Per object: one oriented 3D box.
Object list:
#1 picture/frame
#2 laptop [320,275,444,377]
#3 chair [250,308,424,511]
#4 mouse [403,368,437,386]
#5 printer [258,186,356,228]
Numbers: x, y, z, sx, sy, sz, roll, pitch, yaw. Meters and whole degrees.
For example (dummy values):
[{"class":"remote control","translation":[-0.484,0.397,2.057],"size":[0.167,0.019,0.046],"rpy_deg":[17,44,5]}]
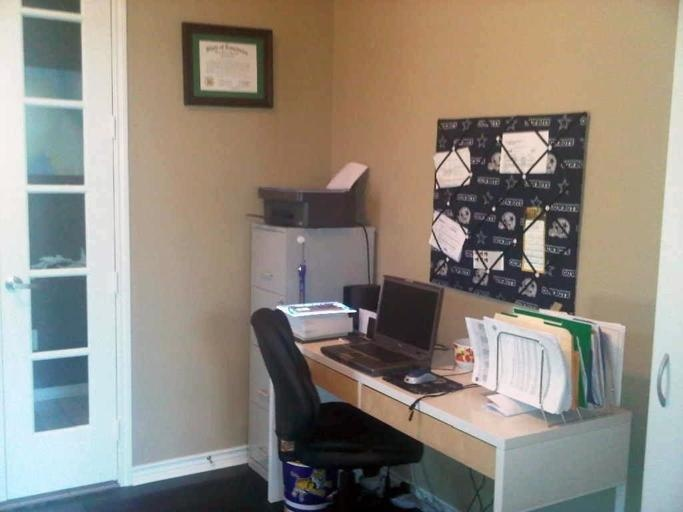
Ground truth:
[{"class":"picture/frame","translation":[-0.740,-1.194,3.551],"size":[0.549,0.484,0.042],"rpy_deg":[-4,9,-25]},{"class":"laptop","translation":[0.203,0.362,2.866],"size":[0.471,0.421,0.551],"rpy_deg":[-1,6,-31]},{"class":"chair","translation":[-0.125,0.705,3.266],"size":[0.968,1.386,0.956],"rpy_deg":[-6,6,-13]},{"class":"mouse","translation":[0.371,0.559,2.621],"size":[0.106,0.035,0.066],"rpy_deg":[1,-2,-32]},{"class":"printer","translation":[-0.211,-0.291,3.474],"size":[0.593,0.245,0.285],"rpy_deg":[-1,8,-3]}]
